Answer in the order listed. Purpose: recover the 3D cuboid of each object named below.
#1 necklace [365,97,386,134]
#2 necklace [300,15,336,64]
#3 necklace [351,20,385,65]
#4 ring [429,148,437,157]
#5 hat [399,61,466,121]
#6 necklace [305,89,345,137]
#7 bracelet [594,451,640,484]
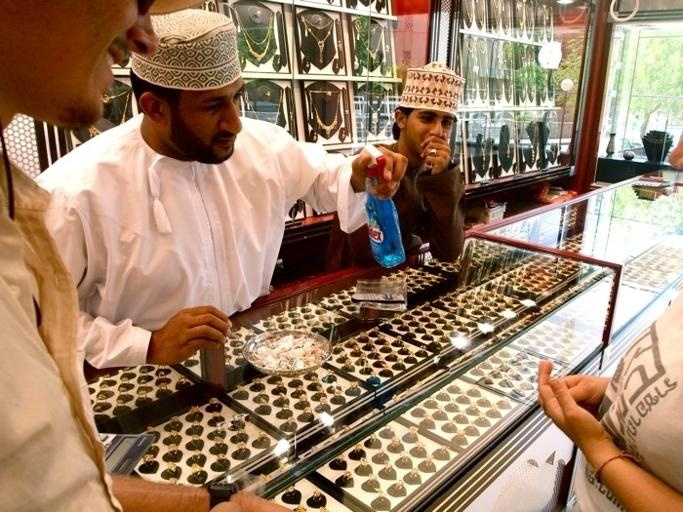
[{"bbox_3d":[0.275,-1.192,3.837,0.056,0.519,0.209,13,20,41],"label":"necklace"},{"bbox_3d":[-0.187,-1.607,3.376,0.292,0.322,0.032,-32,34,-35],"label":"necklace"},{"bbox_3d":[0.198,-1.719,3.656,0.294,0.415,0.043,-18,25,-38],"label":"necklace"},{"bbox_3d":[0.479,-0.542,2.391,0.038,0.030,0.019,3,21,10],"label":"ring"},{"bbox_3d":[0.498,-0.917,2.602,0.292,0.240,0.317,5,24,-16],"label":"hat"},{"bbox_3d":[-0.142,-1.109,3.516,0.028,0.352,0.374,-2,-4,40],"label":"necklace"},{"bbox_3d":[0.666,0.523,1.110,0.076,0.076,0.021,-29,57,-27],"label":"bracelet"}]
